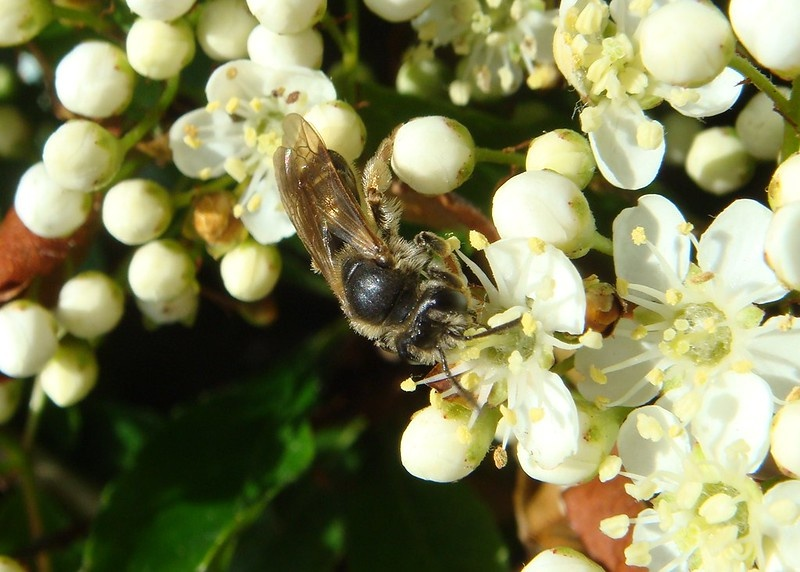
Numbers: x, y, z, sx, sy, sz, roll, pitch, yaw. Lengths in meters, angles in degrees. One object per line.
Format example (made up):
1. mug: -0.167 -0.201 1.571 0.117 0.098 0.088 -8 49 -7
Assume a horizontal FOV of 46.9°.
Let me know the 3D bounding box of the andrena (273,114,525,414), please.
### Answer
1. andrena: 0.038 -0.061 1.356 0.419 0.123 0.301 53 133 26

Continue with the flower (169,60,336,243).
1. flower: -0.223 -0.198 1.422 0.298 0.314 0.117 -36 63 58

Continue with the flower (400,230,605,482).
1. flower: 0.135 0.113 1.164 0.226 0.108 0.339 18 103 35
